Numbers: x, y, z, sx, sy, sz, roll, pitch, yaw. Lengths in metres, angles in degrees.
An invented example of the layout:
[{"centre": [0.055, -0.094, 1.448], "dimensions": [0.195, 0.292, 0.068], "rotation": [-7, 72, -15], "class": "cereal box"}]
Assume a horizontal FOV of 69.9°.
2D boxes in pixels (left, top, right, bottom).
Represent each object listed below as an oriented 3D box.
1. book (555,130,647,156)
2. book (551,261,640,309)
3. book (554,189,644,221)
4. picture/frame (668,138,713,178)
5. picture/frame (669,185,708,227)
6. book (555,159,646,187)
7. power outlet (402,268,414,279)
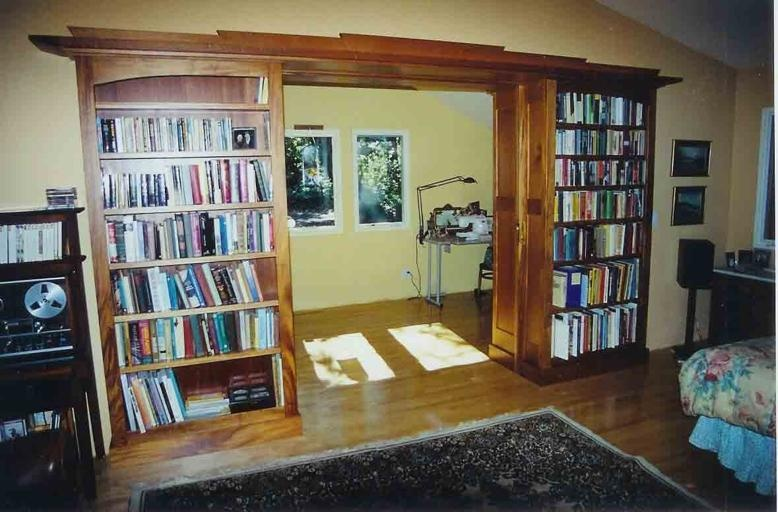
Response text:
[{"centre": [1.894, -1.006, 4.975], "dimensions": [0.966, 0.270, 0.076], "rotation": [-7, 15, -20], "class": "book"}, {"centre": [1.901, 0.264, 5.033], "dimensions": [0.985, 0.351, 0.399], "rotation": [-2, 5, -25], "class": "book"}, {"centre": [1.886, -0.458, 5.000], "dimensions": [0.978, 0.298, 0.087], "rotation": [-8, 15, -21], "class": "book"}, {"centre": [2.883, -0.934, 5.340], "dimensions": [0.391, 0.313, 0.035], "rotation": [1, 5, -8], "class": "picture/frame"}, {"centre": [2.868, -0.492, 5.374], "dimensions": [0.416, 0.392, 0.029], "rotation": [-4, 9, -21], "class": "picture/frame"}, {"centre": [1.894, -0.749, 4.984], "dimensions": [0.968, 0.285, 0.063], "rotation": [-7, 15, -19], "class": "book"}, {"centre": [0.244, 0.244, 7.373], "dimensions": [0.146, 0.101, 0.048], "rotation": [8, 11, -28], "class": "power outlet"}]
